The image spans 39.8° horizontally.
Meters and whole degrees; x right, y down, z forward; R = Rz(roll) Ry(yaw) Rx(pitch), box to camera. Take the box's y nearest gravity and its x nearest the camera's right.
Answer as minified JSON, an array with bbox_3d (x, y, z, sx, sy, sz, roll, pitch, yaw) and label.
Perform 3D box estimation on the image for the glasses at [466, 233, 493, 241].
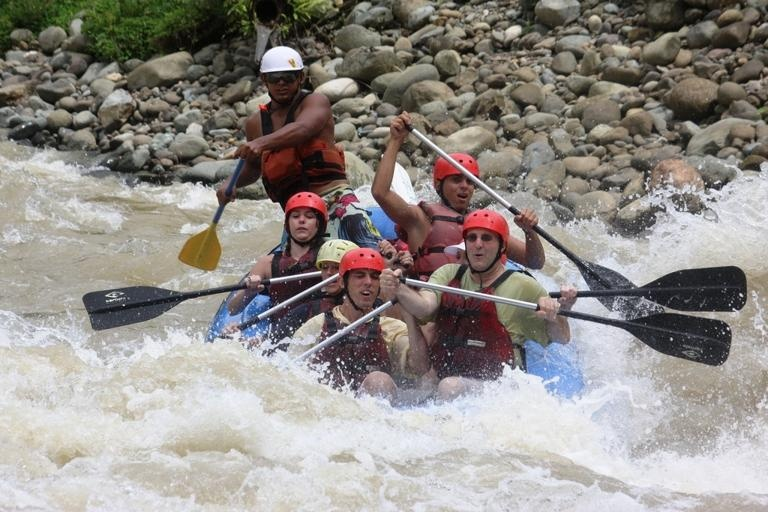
[{"bbox_3d":[0.908,-0.180,10.049,0.237,0.098,0.044,7,13,-1],"label":"glasses"}]

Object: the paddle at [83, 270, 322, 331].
[{"bbox_3d":[-1.742,0.368,11.169,2.813,0.175,0.526,-6,38,-36],"label":"paddle"}]

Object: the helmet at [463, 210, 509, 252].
[{"bbox_3d":[1.001,-0.201,10.145,0.314,0.438,0.324,2,-2,16],"label":"helmet"}]

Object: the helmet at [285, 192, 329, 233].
[{"bbox_3d":[-0.798,-0.509,10.887,0.311,0.443,0.331,-7,19,7],"label":"helmet"}]

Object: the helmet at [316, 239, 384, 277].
[{"bbox_3d":[-0.339,0.016,10.342,0.500,0.183,0.360,19,4,-1],"label":"helmet"}]

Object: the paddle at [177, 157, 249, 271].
[{"bbox_3d":[-1.725,-0.449,11.043,0.397,1.661,0.071,19,40,-16],"label":"paddle"}]

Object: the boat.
[{"bbox_3d":[0.451,0.999,10.958,2.587,1.784,0.848,20,-30,0],"label":"boat"}]
